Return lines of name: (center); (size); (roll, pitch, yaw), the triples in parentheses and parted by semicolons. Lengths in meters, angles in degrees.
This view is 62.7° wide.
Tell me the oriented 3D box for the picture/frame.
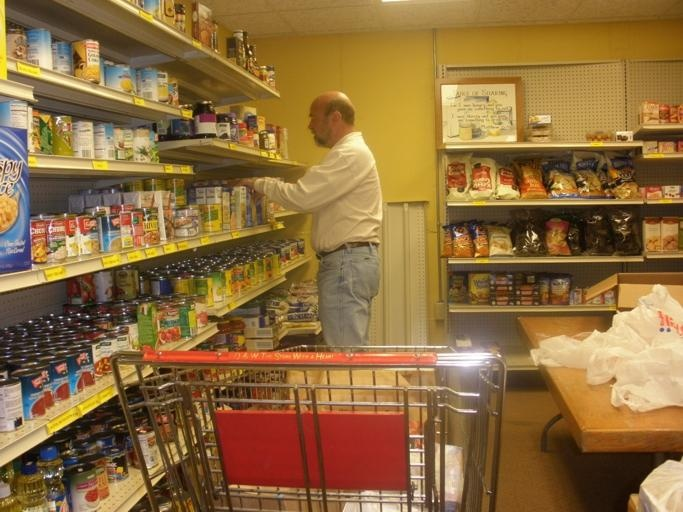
picture/frame: (1.273, -1.319, 5.182); (0.999, 0.614, 0.075); (-7, 12, -22)
